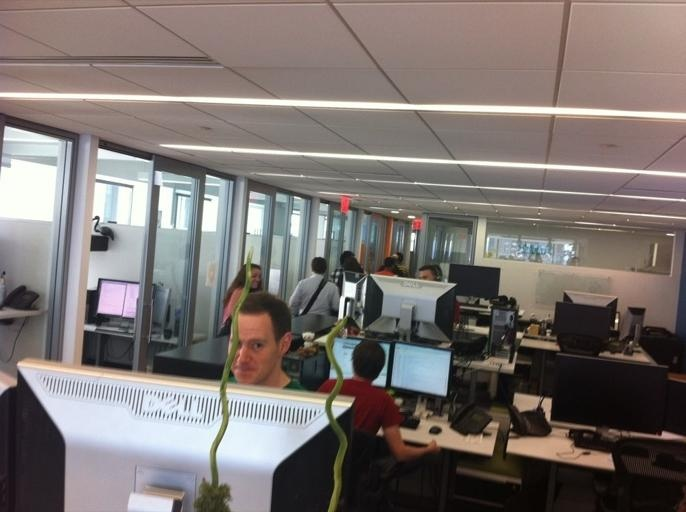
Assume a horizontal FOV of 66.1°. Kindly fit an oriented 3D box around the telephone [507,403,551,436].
[{"bbox_3d":[1.306,1.161,3.706,0.143,0.212,0.437,-7,-23,34],"label":"telephone"}]

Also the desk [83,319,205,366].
[{"bbox_3d":[-2.352,0.984,6.003,0.864,0.448,0.464,3,-15,12],"label":"desk"}]

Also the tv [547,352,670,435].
[{"bbox_3d":[1.767,0.947,3.557,0.797,0.609,0.090,3,5,8],"label":"tv"}]

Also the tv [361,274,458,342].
[{"bbox_3d":[0.517,0.448,4.395,0.601,0.523,0.188,5,13,14],"label":"tv"}]

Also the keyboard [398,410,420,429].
[{"bbox_3d":[0.456,1.142,3.666,0.163,0.060,0.248,1,5,17],"label":"keyboard"}]

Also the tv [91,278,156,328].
[{"bbox_3d":[-2.582,0.556,6.191,0.547,0.476,0.198,5,-1,-10],"label":"tv"}]

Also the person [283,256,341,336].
[{"bbox_3d":[-0.401,0.808,7.195,0.689,1.692,0.469,4,16,-2],"label":"person"}]

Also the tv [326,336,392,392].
[{"bbox_3d":[0.048,0.795,3.877,0.568,0.401,0.315,-2,-8,40],"label":"tv"}]

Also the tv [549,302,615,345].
[{"bbox_3d":[2.861,0.790,6.481,0.722,0.421,0.701,6,-5,-6],"label":"tv"}]

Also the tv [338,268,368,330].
[{"bbox_3d":[0.086,0.430,5.643,0.180,0.517,0.369,3,5,-29],"label":"tv"}]

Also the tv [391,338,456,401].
[{"bbox_3d":[0.567,0.754,3.792,0.477,0.349,0.367,5,-42,16],"label":"tv"}]

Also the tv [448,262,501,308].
[{"bbox_3d":[1.979,0.455,8.002,0.663,0.494,0.214,2,6,16],"label":"tv"}]
